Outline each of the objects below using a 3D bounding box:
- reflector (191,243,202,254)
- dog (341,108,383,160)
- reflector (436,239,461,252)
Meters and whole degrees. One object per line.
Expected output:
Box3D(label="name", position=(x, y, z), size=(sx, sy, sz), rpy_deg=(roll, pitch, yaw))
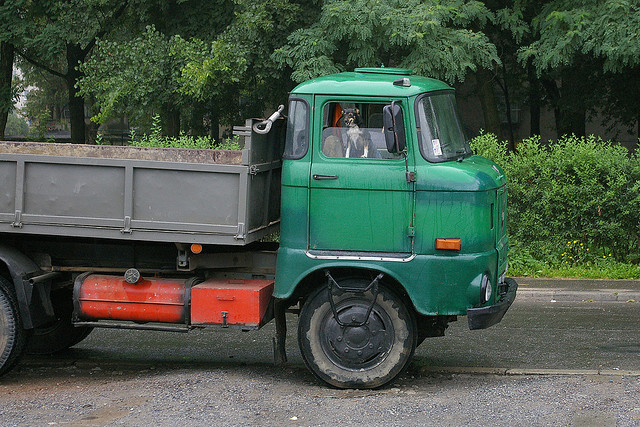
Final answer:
Box3D(label="reflector", position=(-1.832, 0.504, 12.497), size=(0.161, 0.182, 0.144), rpy_deg=(-3, 13, -12))
Box3D(label="dog", position=(0.612, -1.159, 12.519), size=(0.395, 0.688, 1.209), rpy_deg=(-1, -4, 18))
Box3D(label="reflector", position=(1.831, 0.448, 11.972), size=(0.345, 0.172, 0.039), rpy_deg=(0, 13, 4))
